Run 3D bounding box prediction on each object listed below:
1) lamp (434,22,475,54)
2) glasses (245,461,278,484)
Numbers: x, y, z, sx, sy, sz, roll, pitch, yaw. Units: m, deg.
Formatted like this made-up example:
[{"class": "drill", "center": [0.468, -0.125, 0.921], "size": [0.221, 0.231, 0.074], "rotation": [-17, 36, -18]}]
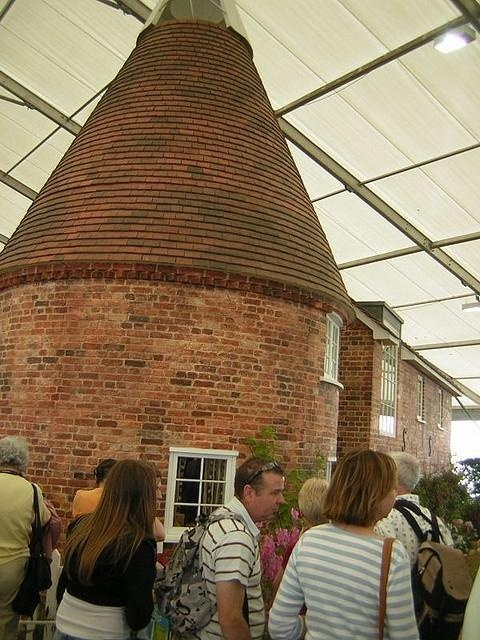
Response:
[{"class": "lamp", "center": [3.691, -4.847, 9.417], "size": [0.456, 0.191, 0.606], "rotation": [11, -16, -39]}, {"class": "glasses", "center": [0.106, 0.770, 2.786], "size": [0.117, 0.033, 0.117], "rotation": [-36, -7, 8]}]
